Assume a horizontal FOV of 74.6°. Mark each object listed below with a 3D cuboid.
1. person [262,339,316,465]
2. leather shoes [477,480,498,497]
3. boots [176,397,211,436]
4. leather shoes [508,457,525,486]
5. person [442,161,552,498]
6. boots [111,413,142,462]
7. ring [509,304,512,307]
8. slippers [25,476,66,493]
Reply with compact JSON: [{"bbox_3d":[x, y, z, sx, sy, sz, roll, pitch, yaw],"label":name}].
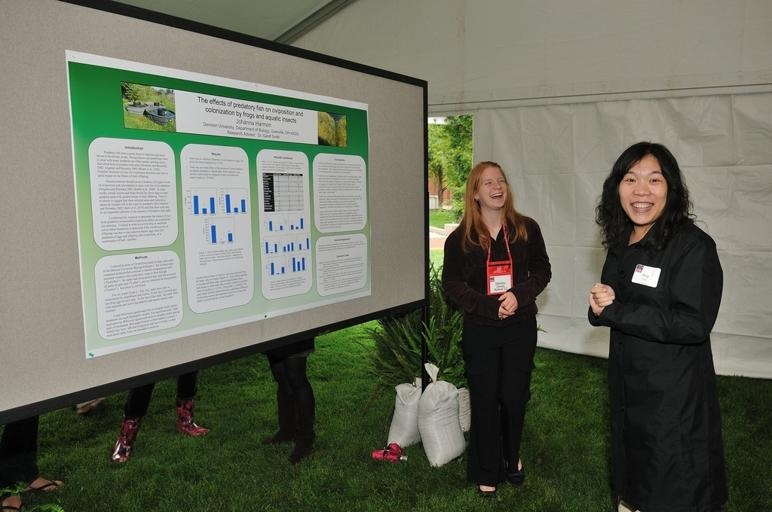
[{"bbox_3d":[-0.687,0.990,3.675,0.345,0.911,0.373,-7,11,-16],"label":"person"},{"bbox_3d":[0.649,1.497,3.256,0.116,0.069,0.039,-3,4,21],"label":"leather shoes"},{"bbox_3d":[-1.511,1.264,3.998,0.302,0.282,0.145,0,-2,20],"label":"boots"},{"bbox_3d":[0.867,1.434,3.401,0.087,0.175,0.069,-2,-12,26],"label":"leather shoes"},{"bbox_3d":[0.732,0.441,3.369,0.656,2.093,0.488,-8,12,-24],"label":"person"},{"bbox_3d":[-1.923,1.313,3.722,0.209,0.295,0.219,-13,14,-39],"label":"boots"},{"bbox_3d":[0.764,0.305,3.132,0.024,0.015,0.003,-4,11,-3],"label":"ring"},{"bbox_3d":[-2.281,1.514,3.381,0.175,0.058,0.137,3,-4,-5],"label":"slippers"}]
